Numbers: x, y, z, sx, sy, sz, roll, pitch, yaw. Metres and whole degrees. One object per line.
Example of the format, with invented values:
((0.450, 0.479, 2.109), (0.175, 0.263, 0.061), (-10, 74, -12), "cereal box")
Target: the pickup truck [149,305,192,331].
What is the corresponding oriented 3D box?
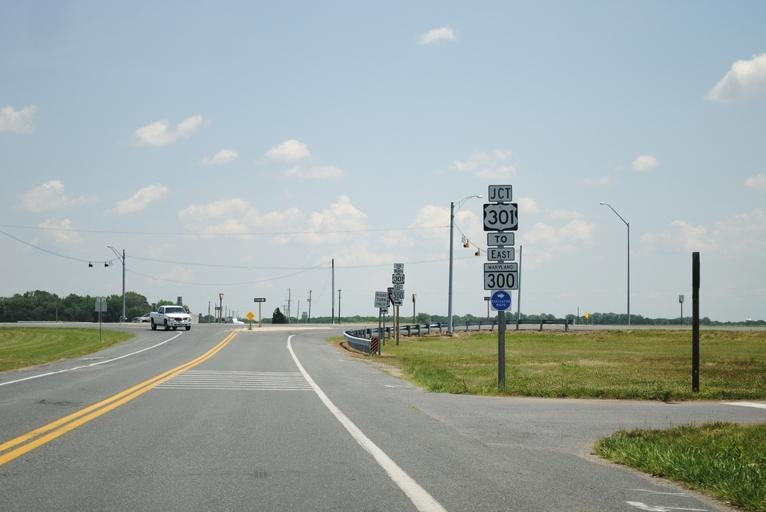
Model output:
((-17.771, 5.078, 63.876), (1.851, 1.492, 4.148), (2, -9, -24), "pickup truck")
